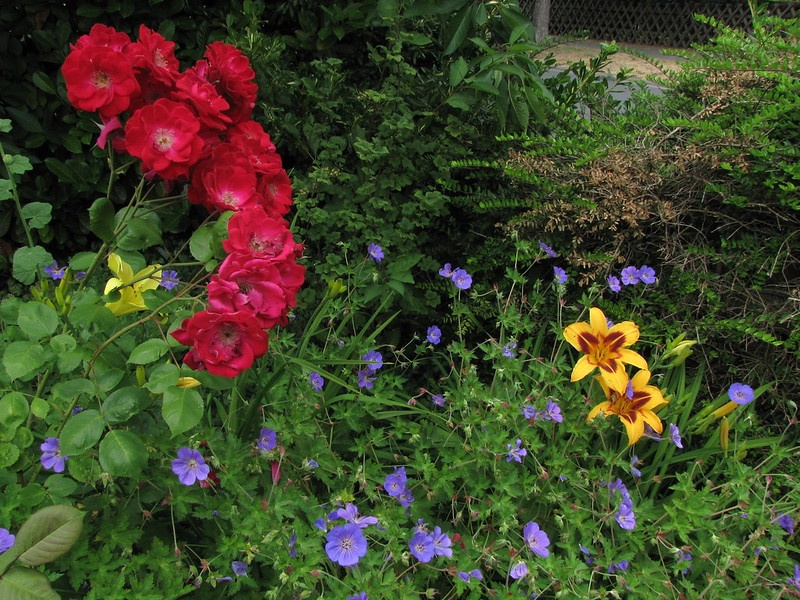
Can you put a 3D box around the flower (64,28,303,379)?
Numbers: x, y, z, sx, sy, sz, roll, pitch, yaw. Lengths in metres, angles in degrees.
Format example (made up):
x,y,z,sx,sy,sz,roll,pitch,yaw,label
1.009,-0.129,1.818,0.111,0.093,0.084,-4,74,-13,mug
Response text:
x,y,z,sx,sy,sz,roll,pitch,yaw,label
-0.780,-0.404,2.621,0.690,0.877,1.289,-21,55,-33,flower
